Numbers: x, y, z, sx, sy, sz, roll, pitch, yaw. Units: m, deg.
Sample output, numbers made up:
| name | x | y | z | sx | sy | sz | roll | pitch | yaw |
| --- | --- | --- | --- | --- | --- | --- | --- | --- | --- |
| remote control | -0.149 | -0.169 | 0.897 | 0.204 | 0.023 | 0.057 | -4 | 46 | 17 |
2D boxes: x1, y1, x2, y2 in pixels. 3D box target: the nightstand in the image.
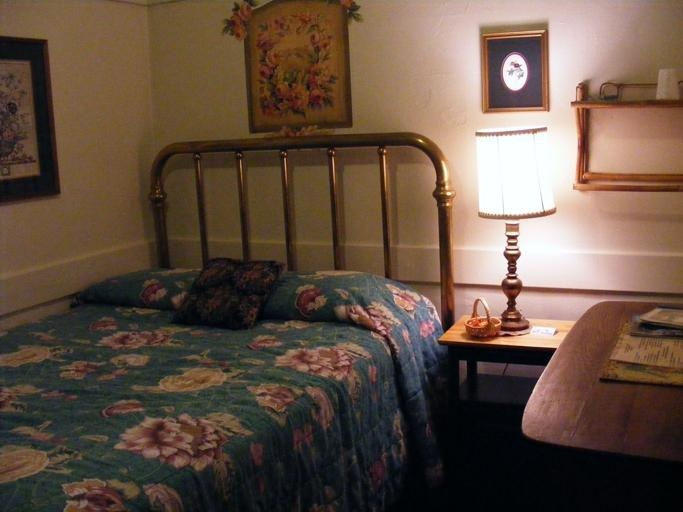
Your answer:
| name | x | y | z | sx | sy | sz | roll | pitch | yaw |
| --- | --- | --- | --- | --- | --- | --- | --- | --- | --- |
| nightstand | 0.775 | 0.571 | 2.507 | 0.561 | 0.400 | 0.442 | 0 | 1 | 25 |

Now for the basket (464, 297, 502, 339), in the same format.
| name | x | y | z | sx | sy | sz | roll | pitch | yaw |
| --- | --- | --- | --- | --- | --- | --- | --- | --- | --- |
| basket | 0.628 | 0.264 | 2.430 | 0.155 | 0.159 | 0.159 | -8 | 11 | -8 |

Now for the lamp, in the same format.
| name | x | y | z | sx | sy | sz | roll | pitch | yaw |
| --- | --- | --- | --- | --- | --- | --- | --- | --- | --- |
| lamp | 0.778 | -0.121 | 2.444 | 0.330 | 0.895 | 0.264 | 0 | 12 | 14 |

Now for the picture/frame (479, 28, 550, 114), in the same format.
| name | x | y | z | sx | sy | sz | roll | pitch | yaw |
| --- | --- | --- | --- | --- | --- | --- | --- | --- | --- |
| picture/frame | 0.817 | -0.874 | 2.530 | 0.404 | 0.476 | 0.036 | 2 | 9 | 25 |
